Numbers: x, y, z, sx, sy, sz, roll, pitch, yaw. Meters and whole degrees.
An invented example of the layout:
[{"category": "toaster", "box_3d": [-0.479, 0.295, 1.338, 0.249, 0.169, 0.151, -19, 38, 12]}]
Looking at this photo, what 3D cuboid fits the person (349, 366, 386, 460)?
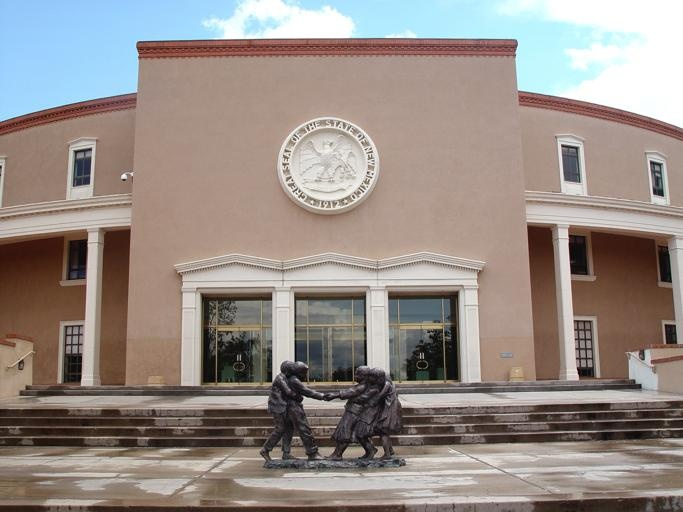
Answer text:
[{"category": "person", "box_3d": [0.568, 3.191, 12.968, 0.562, 1.792, 0.681, 6, -14, -24]}]
